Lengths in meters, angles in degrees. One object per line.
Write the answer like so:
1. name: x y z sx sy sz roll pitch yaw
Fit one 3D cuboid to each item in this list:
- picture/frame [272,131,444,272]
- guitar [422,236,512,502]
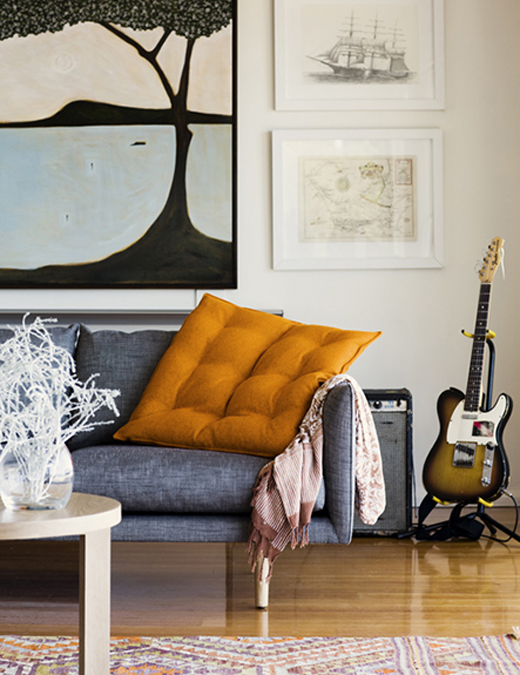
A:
1. picture/frame: 0.467 -0.612 3.803 0.648 0.535 0.054 0 -1 1
2. guitar: 0.843 0.142 3.197 0.285 0.959 0.409 0 0 43
